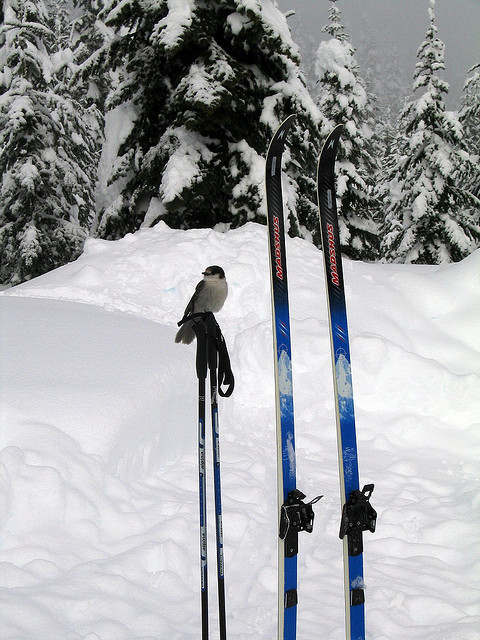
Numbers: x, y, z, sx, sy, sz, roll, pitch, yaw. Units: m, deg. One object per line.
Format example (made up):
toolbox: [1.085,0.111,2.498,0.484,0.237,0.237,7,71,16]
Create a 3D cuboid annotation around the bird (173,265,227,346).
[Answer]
bird: [-0.286,-0.117,4.834,0.325,0.522,0.366,1,-5,14]
